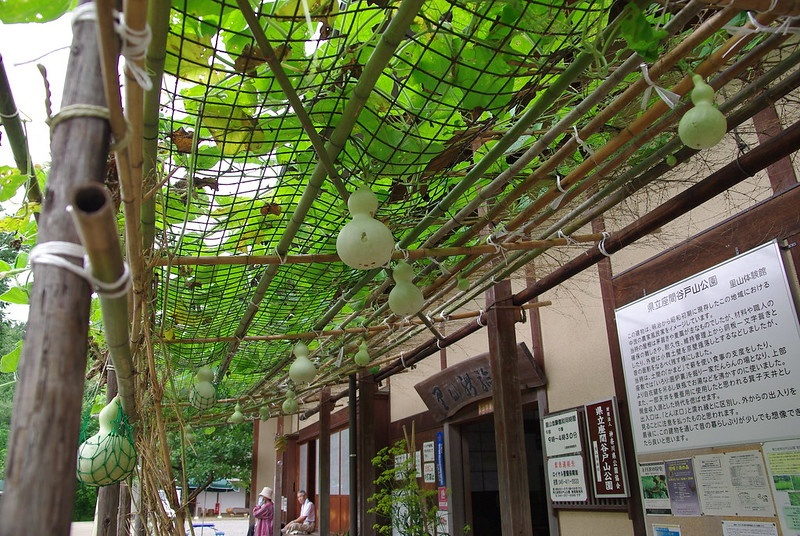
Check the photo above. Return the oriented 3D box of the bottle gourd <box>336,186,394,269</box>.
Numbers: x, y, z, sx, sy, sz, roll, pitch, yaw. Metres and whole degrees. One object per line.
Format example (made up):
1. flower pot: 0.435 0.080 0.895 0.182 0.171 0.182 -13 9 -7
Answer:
1. bottle gourd: -0.142 -0.173 2.081 0.189 0.291 0.184 11 -32 -24

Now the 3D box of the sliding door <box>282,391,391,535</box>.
1. sliding door: -0.928 2.889 7.754 0.501 2.210 3.871 2 -21 -17

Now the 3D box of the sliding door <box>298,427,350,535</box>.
1. sliding door: -1.226 3.550 8.633 0.211 1.884 2.643 -2 -19 -19
